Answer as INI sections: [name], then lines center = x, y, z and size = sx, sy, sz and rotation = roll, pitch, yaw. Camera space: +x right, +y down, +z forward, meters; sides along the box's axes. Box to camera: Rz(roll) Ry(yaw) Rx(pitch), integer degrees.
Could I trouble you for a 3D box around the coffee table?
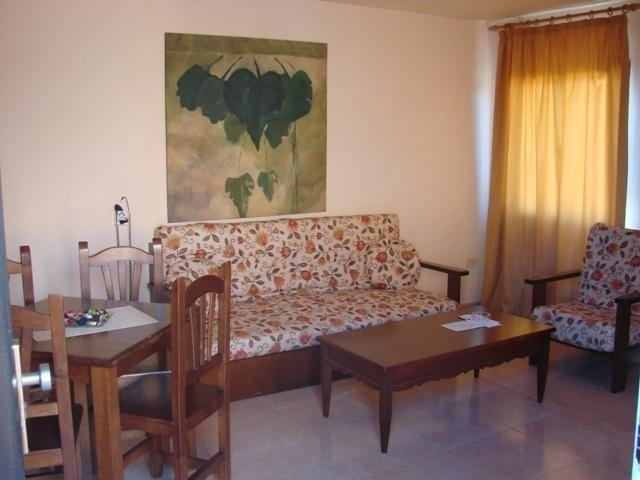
[coffee table]
center = 0.753, 0.848, 3.689
size = 1.476, 0.522, 0.675
rotation = -7, 15, -25
